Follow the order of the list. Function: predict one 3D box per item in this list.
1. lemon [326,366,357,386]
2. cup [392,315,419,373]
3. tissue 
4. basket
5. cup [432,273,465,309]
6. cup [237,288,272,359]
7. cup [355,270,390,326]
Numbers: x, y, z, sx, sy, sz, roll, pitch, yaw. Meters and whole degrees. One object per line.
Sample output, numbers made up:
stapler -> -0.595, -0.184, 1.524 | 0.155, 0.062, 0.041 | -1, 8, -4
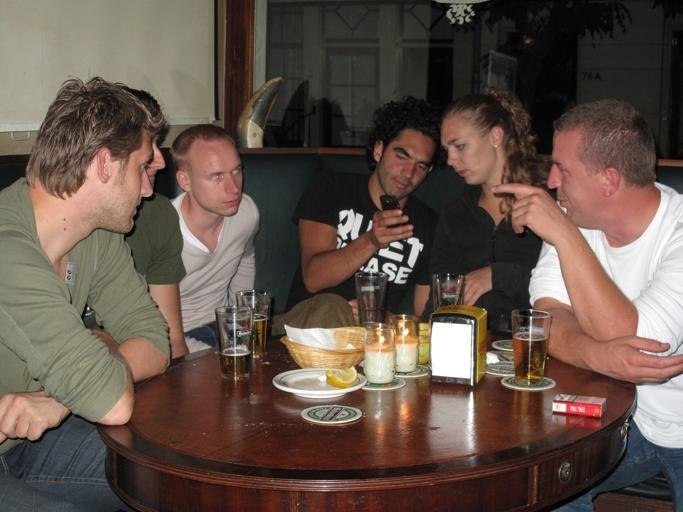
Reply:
lemon -> -0.003, 0.334, 1.722 | 0.056, 0.032, 0.055 | -1, 4, -29
cup -> 0.180, 0.277, 1.882 | 0.093, 0.150, 0.093 | 6, -24, 3
tissue  -> 0.352, 0.260, 1.814 | 0.192, 0.209, 0.186 | -3, 10, -9
basket -> -0.028, 0.295, 1.859 | 0.167, 0.064, 0.163 | -8, 4, -16
cup -> 0.395, 0.126, 2.191 | 0.124, 0.138, 0.130 | 0, 7, 0
cup -> -0.308, 0.239, 2.046 | 0.134, 0.211, 0.129 | -7, -2, 0
cup -> 0.118, 0.169, 2.196 | 0.140, 0.215, 0.135 | 0, -2, 0
